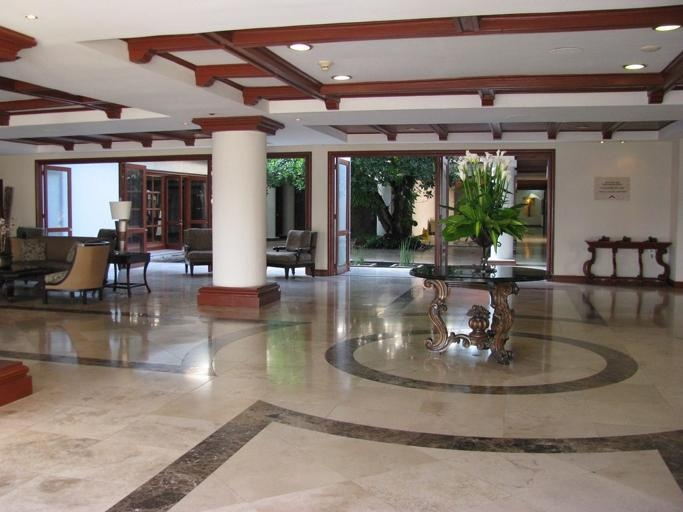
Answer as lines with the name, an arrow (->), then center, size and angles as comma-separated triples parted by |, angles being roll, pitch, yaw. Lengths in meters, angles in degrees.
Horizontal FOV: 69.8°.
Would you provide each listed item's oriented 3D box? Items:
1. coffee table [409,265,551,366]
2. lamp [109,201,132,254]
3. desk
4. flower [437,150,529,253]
coffee table -> 1.544, 0.536, 5.478 | 1.508, 0.685, 1.304 | 1, 5, 23
lamp -> -4.216, -0.554, 9.403 | 0.327, 0.976, 0.615 | -2, 3, -22
desk -> 6.058, 0.152, 10.557 | 1.843, 0.840, 0.516 | 0, 0, 1
flower -> 1.601, -0.597, 5.469 | 0.843, 1.235, 0.951 | 0, 3, 18
